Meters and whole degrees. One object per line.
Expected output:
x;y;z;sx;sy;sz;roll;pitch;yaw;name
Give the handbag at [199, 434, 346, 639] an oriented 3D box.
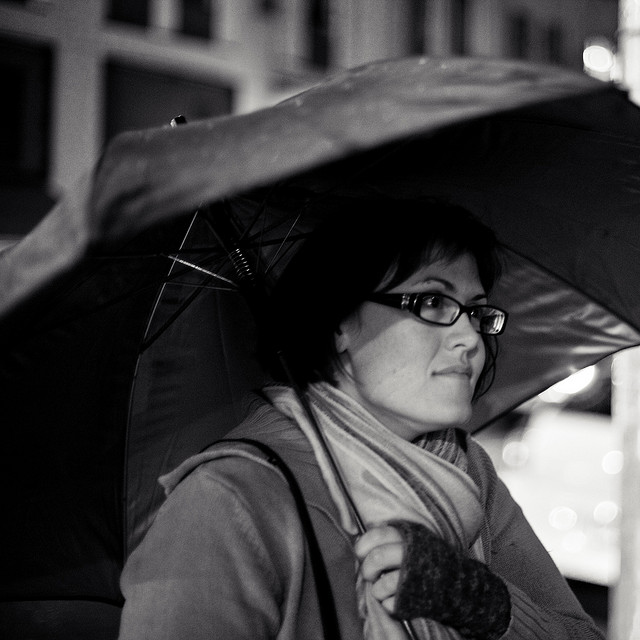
-0.100;0.353;1.249;0.067;0.220;0.285;-19;68;8;handbag
